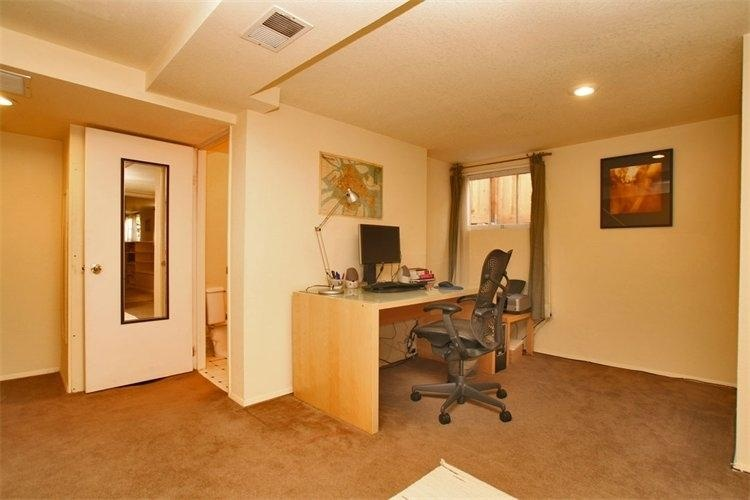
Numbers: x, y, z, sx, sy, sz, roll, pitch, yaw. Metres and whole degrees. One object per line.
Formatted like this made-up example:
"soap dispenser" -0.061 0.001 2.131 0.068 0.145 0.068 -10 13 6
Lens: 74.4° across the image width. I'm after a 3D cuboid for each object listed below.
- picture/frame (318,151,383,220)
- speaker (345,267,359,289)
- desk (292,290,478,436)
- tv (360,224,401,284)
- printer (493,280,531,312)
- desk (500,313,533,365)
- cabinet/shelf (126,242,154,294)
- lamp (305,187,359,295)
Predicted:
"picture/frame" -0.246 -0.661 5.274 0.038 0.647 0.920 1 -1 45
"speaker" -0.218 0.288 4.971 0.123 0.205 0.097 -1 4 -14
"desk" 0.312 0.928 5.213 1.172 0.979 2.104 3 4 40
"tv" 0.011 0.049 5.395 0.197 0.601 0.653 -6 -5 40
"printer" 1.603 0.592 5.950 0.468 0.336 0.415 1 11 20
"desk" 1.756 0.970 5.873 0.404 0.308 0.396 -12 -6 6
"cabinet/shelf" -2.369 0.185 4.986 0.175 0.493 0.518 1 3 0
"lamp" -0.426 -0.119 4.949 0.461 1.045 0.827 1 4 5
